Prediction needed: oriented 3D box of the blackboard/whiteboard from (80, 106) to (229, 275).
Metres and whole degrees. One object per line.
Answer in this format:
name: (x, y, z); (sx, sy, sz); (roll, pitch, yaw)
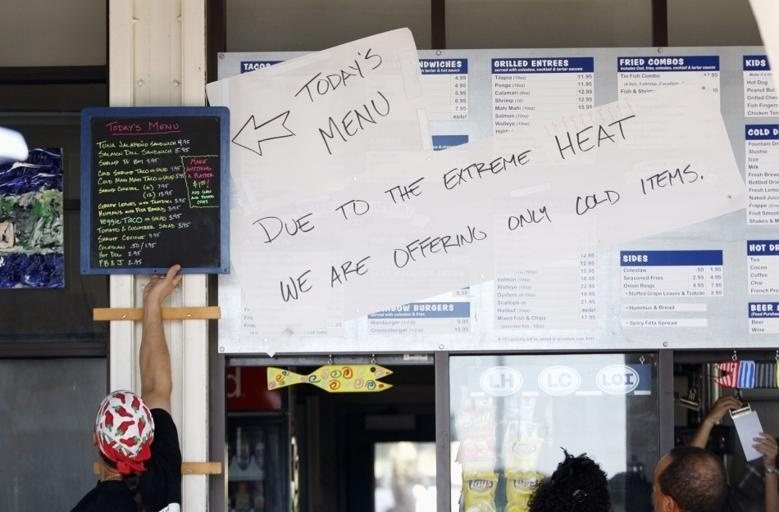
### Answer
blackboard/whiteboard: (-1.206, -0.324, 7.994); (0.918, 0.909, 0.041); (0, -3, -1)

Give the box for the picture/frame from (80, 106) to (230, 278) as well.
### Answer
picture/frame: (-1.203, -0.330, 7.994); (0.936, 0.917, 0.042); (0, -3, -1)
